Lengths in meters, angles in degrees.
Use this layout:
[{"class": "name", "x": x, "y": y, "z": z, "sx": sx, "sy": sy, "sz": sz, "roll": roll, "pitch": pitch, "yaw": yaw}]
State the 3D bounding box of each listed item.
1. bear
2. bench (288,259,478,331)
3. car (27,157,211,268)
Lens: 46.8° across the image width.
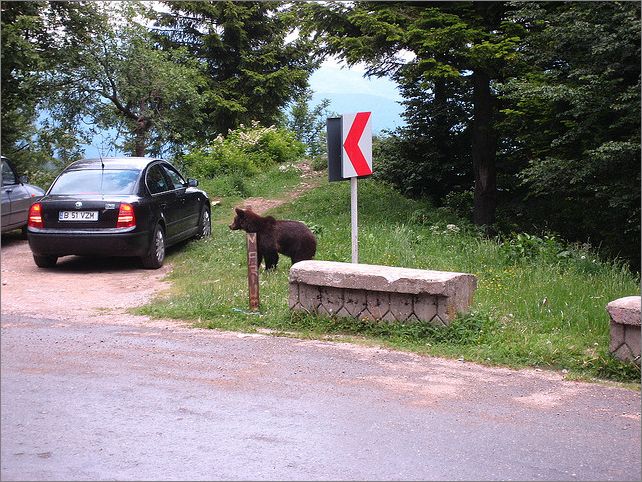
[{"class": "bear", "x": -0.841, "y": 0.005, "z": 14.075, "sx": 1.451, "sy": 1.064, "sz": 0.518, "roll": 1, "pitch": 12, "yaw": 3}, {"class": "bench", "x": 0.856, "y": 0.773, "z": 11.127, "sx": 2.674, "sy": 0.768, "sz": 0.592, "roll": 4, "pitch": 13, "yaw": 18}, {"class": "car", "x": -4.056, "y": -0.616, "z": 15.223, "sx": 2.018, "sy": 2.138, "sz": 3.554, "roll": 6, "pitch": 13, "yaw": 25}]
